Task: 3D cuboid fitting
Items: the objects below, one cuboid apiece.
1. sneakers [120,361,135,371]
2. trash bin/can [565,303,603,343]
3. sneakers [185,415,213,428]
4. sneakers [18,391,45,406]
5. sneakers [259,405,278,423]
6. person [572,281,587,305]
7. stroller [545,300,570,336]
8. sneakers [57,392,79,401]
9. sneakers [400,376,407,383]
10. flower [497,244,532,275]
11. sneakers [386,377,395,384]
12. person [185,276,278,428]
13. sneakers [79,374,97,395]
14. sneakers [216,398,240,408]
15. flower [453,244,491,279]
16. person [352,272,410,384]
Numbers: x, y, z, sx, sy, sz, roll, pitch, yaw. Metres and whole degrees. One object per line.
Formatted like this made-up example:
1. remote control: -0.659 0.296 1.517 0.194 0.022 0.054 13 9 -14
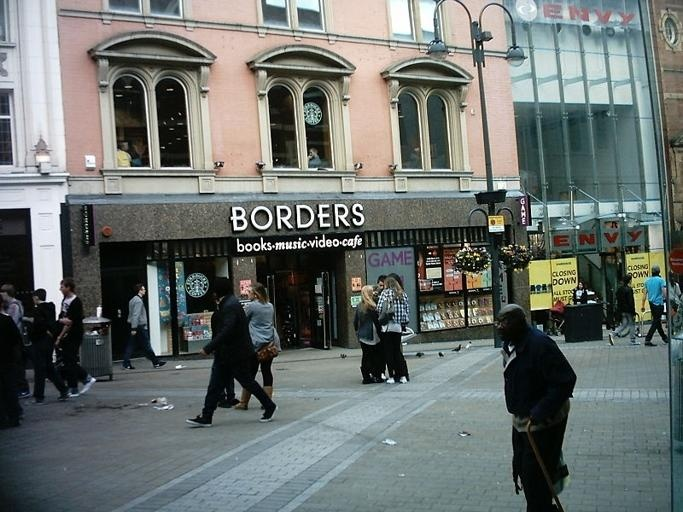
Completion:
1. sneakers: -5.438 2.784 20.354 0.379 0.276 0.155 -2 6 -18
2. trash bin/can: 6.852 1.904 22.807 1.065 1.036 0.558 -1 -1 -21
3. sneakers: -2.370 2.770 13.454 0.473 0.211 0.179 3 -6 6
4. sneakers: -6.145 2.855 16.166 0.680 0.292 0.234 13 -12 -43
5. sneakers: -1.238 2.736 13.658 0.185 0.441 0.159 26 -23 -25
6. person: 7.139 1.144 24.123 0.439 0.658 2.488 -5 -1 16
7. stroller: 6.929 1.991 26.088 0.724 1.100 0.805 -21 1 -22
8. sneakers: -5.470 2.813 16.075 0.400 0.176 0.146 2 -6 -25
9. sneakers: 1.274 2.558 16.661 0.137 0.073 0.227 0 2 3
10. flower: 4.643 0.083 21.522 0.691 0.616 0.716 -2 -8 25
11. sneakers: 1.015 2.567 16.661 0.168 0.137 0.181 -5 -1 2
12. person: -1.894 1.605 13.615 1.355 2.428 1.010 -5 0 -24
13. sneakers: -5.304 2.683 16.787 0.260 0.443 0.154 31 2 -22
14. sneakers: -2.119 2.745 15.000 0.490 0.216 0.168 0 -1 40
15. flower: 3.506 0.129 21.655 0.940 0.794 0.576 -6 0 6
16. person: 0.944 1.526 16.763 1.009 2.255 0.838 -6 -1 45
